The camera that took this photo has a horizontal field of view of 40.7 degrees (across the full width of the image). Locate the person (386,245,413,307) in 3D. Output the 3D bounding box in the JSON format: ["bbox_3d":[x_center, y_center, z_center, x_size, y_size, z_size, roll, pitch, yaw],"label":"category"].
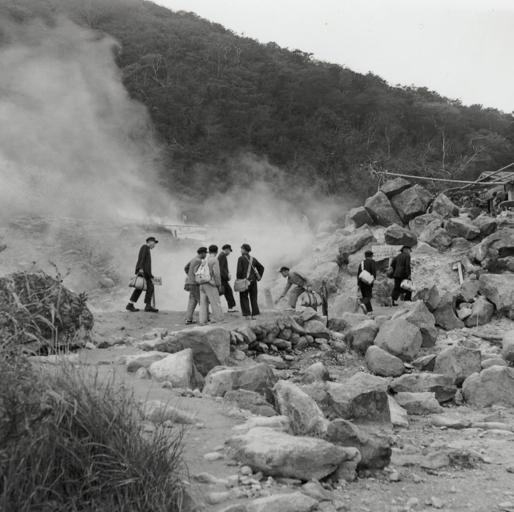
[{"bbox_3d":[2.751,0.345,13.193,0.382,1.187,1.415,2,-6,11],"label":"person"}]

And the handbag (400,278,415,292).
[{"bbox_3d":[2.746,0.522,12.667,0.188,0.236,0.074,12,-10,-34],"label":"handbag"}]

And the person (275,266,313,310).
[{"bbox_3d":[0.707,0.612,13.274,0.611,1.031,0.400,-9,11,15],"label":"person"}]

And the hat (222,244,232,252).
[{"bbox_3d":[-0.584,-0.168,13.420,0.201,0.142,0.302,-1,1,14],"label":"hat"}]

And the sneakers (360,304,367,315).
[{"bbox_3d":[1.932,0.957,12.554,0.054,0.177,0.091,-5,-13,-34],"label":"sneakers"}]

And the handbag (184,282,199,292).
[{"bbox_3d":[-1.198,0.551,12.617,0.194,0.147,0.165,3,3,4],"label":"handbag"}]

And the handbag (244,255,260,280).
[{"bbox_3d":[-0.096,0.238,12.546,0.321,0.442,0.250,-3,7,-5],"label":"handbag"}]

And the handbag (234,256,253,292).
[{"bbox_3d":[-0.238,0.317,12.581,0.317,0.663,0.266,4,-5,-4],"label":"handbag"}]

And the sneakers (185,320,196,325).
[{"bbox_3d":[-1.213,1.201,12.710,0.189,0.114,0.073,-11,12,-13],"label":"sneakers"}]

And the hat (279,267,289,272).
[{"bbox_3d":[0.522,0.225,13.255,0.128,0.088,0.105,9,-8,-16],"label":"hat"}]

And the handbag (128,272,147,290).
[{"bbox_3d":[-2.222,0.477,12.987,0.311,0.278,0.423,5,-7,-10],"label":"handbag"}]

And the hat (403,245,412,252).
[{"bbox_3d":[2.836,-0.151,13.152,0.130,0.087,0.207,0,5,5],"label":"hat"}]
